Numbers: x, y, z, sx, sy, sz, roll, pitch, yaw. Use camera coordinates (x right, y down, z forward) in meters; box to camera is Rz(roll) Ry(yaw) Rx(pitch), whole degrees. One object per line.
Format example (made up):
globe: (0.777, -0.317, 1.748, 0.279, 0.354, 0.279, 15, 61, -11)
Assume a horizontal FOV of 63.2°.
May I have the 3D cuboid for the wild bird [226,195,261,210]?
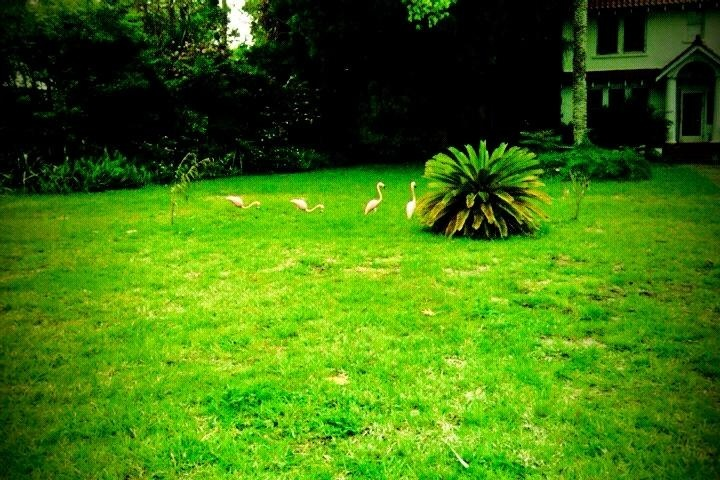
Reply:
wild bird: (-3.107, -1.069, 15.638, 0.864, 0.399, 1.600, -3, 13, -11)
